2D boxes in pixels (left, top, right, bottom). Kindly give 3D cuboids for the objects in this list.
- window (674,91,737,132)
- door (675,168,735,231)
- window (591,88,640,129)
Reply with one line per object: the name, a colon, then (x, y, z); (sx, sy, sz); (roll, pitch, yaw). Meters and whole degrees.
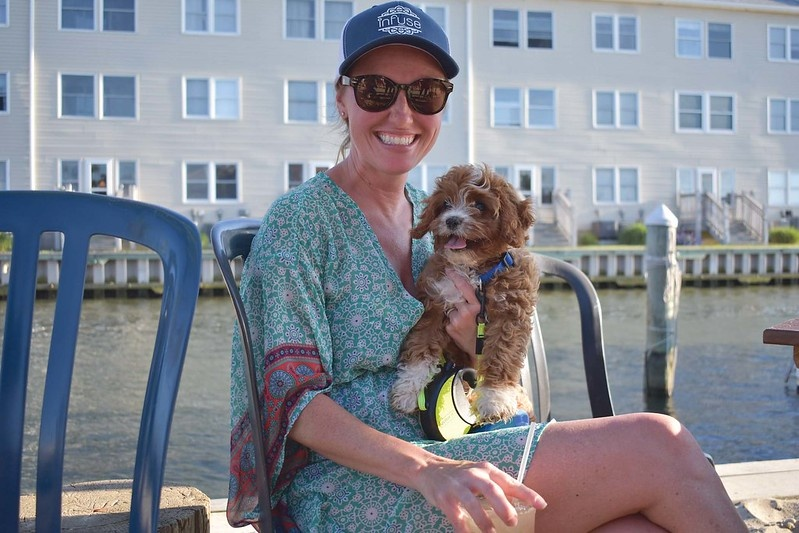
window: (11.308, -5.723, 58.092); (2.176, 1.641, 0.190); (3, 26, 15)
door: (11.198, -2.695, 57.418); (2.203, 2.153, 0.187); (3, 7, 28)
window: (7.977, -5.785, 57.912); (1.737, 1.416, 0.187); (0, -1, -6)
